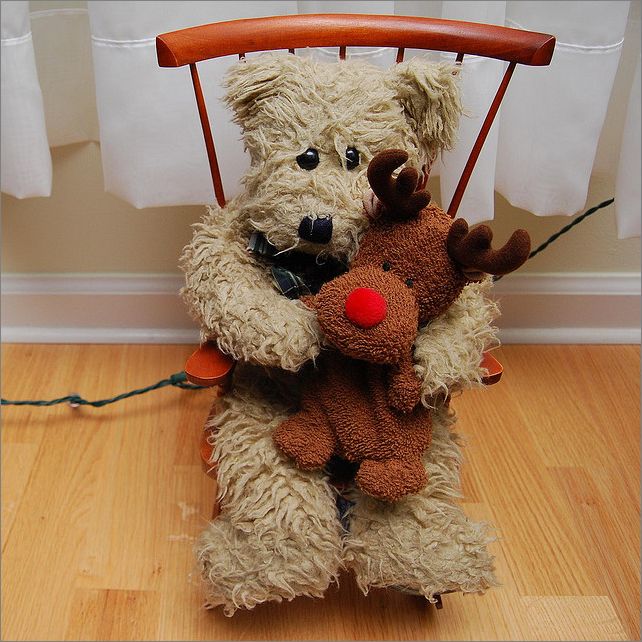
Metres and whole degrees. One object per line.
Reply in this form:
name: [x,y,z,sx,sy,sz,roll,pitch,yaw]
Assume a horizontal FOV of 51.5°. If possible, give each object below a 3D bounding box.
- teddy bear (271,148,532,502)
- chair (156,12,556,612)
teddy bear: [0.083,0.026,0.961,0.311,0.420,0.248,26,32,37]
chair: [0.004,-0.016,1.044,0.598,0.807,0.540,9,28,12]
